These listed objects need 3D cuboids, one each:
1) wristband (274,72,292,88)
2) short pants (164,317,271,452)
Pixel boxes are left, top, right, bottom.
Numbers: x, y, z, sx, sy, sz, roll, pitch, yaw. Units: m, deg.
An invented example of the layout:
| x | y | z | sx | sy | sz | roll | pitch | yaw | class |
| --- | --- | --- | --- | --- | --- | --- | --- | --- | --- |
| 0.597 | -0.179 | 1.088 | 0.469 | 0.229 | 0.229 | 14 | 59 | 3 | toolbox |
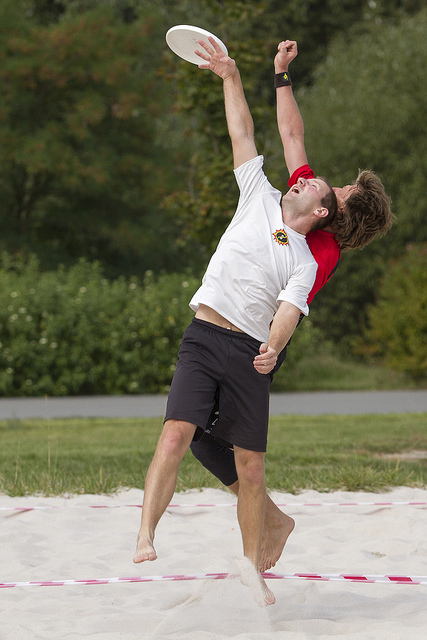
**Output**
| x | y | z | sx | sy | sz | roll | pitch | yaw | class |
| --- | --- | --- | --- | --- | --- | --- | --- | --- | --- |
| 0.336 | -1.149 | 4.326 | 0.077 | 0.052 | 0.073 | 0 | -8 | -4 | wristband |
| -0.001 | 0.271 | 3.732 | 0.456 | 0.553 | 0.174 | -1 | 4 | -27 | short pants |
